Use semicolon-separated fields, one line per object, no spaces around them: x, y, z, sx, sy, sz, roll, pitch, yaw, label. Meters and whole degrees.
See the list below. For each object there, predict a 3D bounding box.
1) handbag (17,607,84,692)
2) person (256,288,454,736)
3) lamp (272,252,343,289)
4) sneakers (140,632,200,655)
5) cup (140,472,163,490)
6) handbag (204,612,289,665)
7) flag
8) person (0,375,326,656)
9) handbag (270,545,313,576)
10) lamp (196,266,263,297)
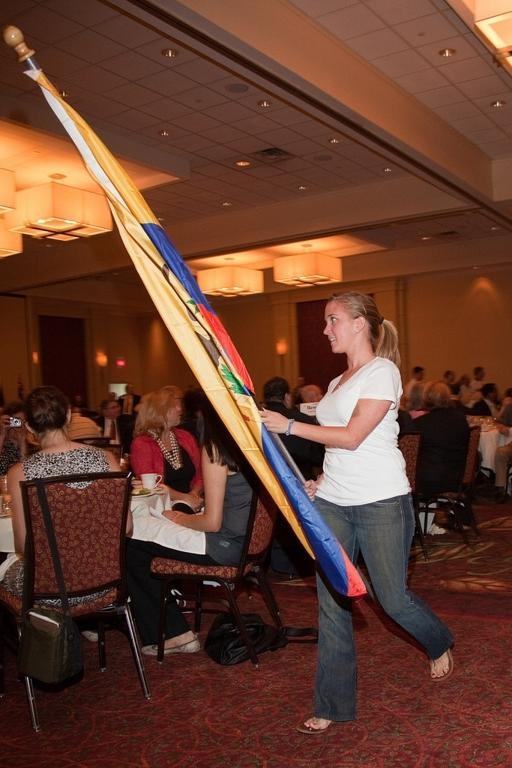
-0.616;0.785;1.710;0.183;0.212;0.120;1;-3;14;handbag
0.264;0.353;1.694;0.793;1.219;0.364;2;-6;-33;person
0.893;-2.201;11.060;0.869;0.382;0.845;2;-4;-40;lamp
-0.391;1.159;2.566;0.273;0.097;0.096;3;-11;-2;sneakers
-0.528;0.504;2.909;0.097;0.065;0.067;6;-13;-19;cup
-0.051;1.044;2.462;0.291;0.083;0.279;-9;26;-27;handbag
-0.123;-0.088;1.339;0.711;1.219;0.212;1;-9;-31;flag
-0.272;0.650;3.000;1.193;1.635;0.969;-1;-1;8;person
0.220;1.213;3.851;0.256;0.293;0.251;0;-29;1;handbag
-0.681;-2.095;11.735;1.012;0.415;1.023;-2;-3;36;lamp
